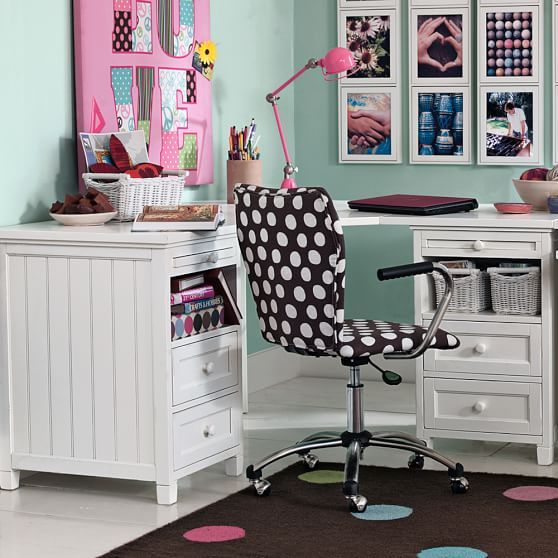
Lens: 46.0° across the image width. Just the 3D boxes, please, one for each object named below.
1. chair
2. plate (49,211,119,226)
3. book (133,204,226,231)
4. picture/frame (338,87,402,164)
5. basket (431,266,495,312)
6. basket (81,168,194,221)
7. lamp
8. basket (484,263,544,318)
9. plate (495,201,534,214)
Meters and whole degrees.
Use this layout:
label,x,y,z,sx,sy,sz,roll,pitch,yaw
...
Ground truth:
label,x,y,z,sx,sy,sz,roll,pitch,yaw
chair,0.205,0.173,1.917,0.614,0.775,0.571,2,-2,-34
plate,-0.593,-0.183,1.989,0.190,0.042,0.181,-2,1,-16
book,-0.286,-0.176,1.856,0.230,0.069,0.139,-2,1,4
picture/frame,0.478,-0.795,3.335,0.434,0.472,0.038,3,6,27
basket,0.635,0.033,2.259,0.137,0.126,0.185,3,8,30
basket,-0.476,-0.262,2.081,0.174,0.114,0.254,6,7,39
lamp,0.153,-0.784,3.083,0.411,0.513,0.814,-2,1,0
basket,0.747,0.042,2.073,0.141,0.128,0.182,1,7,23
plate,0.809,-0.245,2.258,0.115,0.040,0.066,-1,1,23
